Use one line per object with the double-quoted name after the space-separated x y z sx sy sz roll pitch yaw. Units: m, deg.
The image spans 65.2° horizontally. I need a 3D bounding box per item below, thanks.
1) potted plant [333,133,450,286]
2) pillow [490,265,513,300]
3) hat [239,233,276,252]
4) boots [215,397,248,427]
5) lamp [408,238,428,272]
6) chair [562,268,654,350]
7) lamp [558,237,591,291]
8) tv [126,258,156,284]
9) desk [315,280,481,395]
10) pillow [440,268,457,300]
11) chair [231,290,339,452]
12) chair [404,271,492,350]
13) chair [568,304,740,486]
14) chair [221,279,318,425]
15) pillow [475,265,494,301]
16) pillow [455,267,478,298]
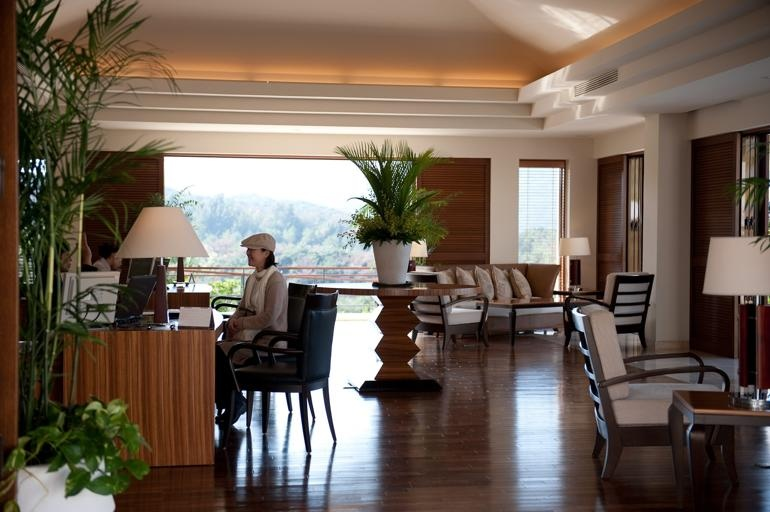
0.029 -0.460 6.736 1.375 1.433 1.305 3 12 27 "potted plant"
1.929 0.487 10.068 0.320 0.574 0.857 1 -5 19 "pillow"
-1.150 -0.121 5.484 0.259 0.107 0.184 5 -3 1 "hat"
-1.331 1.366 5.219 0.197 0.209 0.530 0 2 -7 "boots"
0.549 0.005 9.995 0.411 0.462 0.482 4 10 11 "lamp"
3.242 0.795 8.741 0.964 0.924 1.078 1 -6 -18 "chair"
3.110 0.137 10.082 0.650 0.849 0.592 -5 5 -10 "lamp"
-2.481 0.152 6.198 0.365 0.293 0.221 0 1 -11 "tv"
0.150 0.898 6.688 1.785 1.064 1.712 -2 -4 16 "desk"
0.942 0.391 8.975 0.152 0.373 0.397 -3 16 8 "pillow"
-0.824 0.939 5.027 0.849 1.184 0.808 -1 5 -6 "chair"
0.914 0.768 9.029 1.022 1.035 0.923 2 0 -30 "chair"
1.980 0.947 4.505 1.195 0.961 0.802 0 0 3 "chair"
-0.875 0.899 4.985 0.804 1.084 0.716 -4 7 7 "chair"
1.615 0.479 9.865 0.336 0.631 0.913 -3 -6 19 "pillow"
1.113 0.374 8.249 0.173 0.348 0.485 0 -3 31 "pillow"
